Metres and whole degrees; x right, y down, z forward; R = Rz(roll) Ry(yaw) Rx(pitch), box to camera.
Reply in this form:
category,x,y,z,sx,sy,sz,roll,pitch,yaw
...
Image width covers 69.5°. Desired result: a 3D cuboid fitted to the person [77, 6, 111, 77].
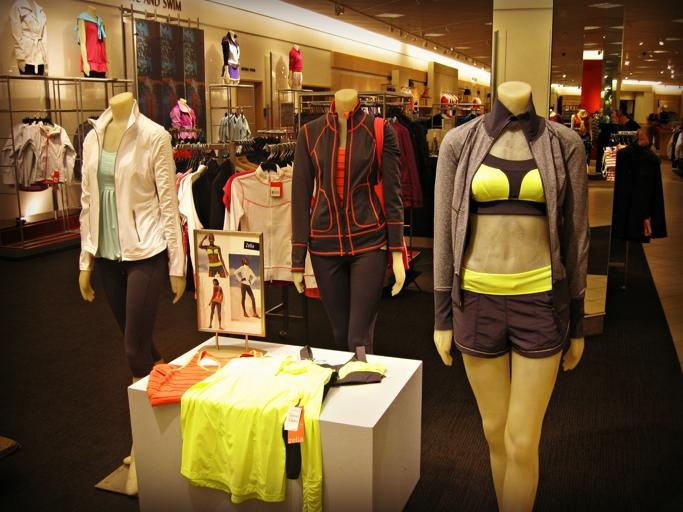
category,x,y,z,sx,sy,sz,roll,pitch,yaw
person,-3.853,-3.238,7.654,0.389,0.972,0.305,-11,17,-32

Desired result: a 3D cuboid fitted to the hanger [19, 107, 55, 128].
category,x,y,z,sx,sy,sz,roll,pitch,yaw
hanger,-4.545,-2.021,7.355,0.412,0.225,0.862,-12,20,-29

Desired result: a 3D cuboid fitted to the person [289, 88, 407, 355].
category,x,y,z,sx,sy,sz,roll,pitch,yaw
person,0.028,-0.147,2.638,0.597,1.376,0.338,-3,14,-5

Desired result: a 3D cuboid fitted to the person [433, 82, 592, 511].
category,x,y,z,sx,sy,sz,roll,pitch,yaw
person,0.635,0.195,1.917,0.569,1.637,0.371,6,16,27

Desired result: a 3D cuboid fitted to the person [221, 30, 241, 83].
category,x,y,z,sx,sy,sz,roll,pitch,yaw
person,-2.113,-3.739,9.457,0.206,0.917,0.413,11,20,42

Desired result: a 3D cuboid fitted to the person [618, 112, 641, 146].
category,x,y,z,sx,sy,sz,roll,pitch,yaw
person,2.804,-1.219,4.787,0.140,0.332,0.815,7,20,32

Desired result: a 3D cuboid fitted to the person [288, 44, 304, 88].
category,x,y,z,sx,sy,sz,roll,pitch,yaw
person,-1.005,-4.026,10.682,0.286,0.901,1.096,-3,16,-5
